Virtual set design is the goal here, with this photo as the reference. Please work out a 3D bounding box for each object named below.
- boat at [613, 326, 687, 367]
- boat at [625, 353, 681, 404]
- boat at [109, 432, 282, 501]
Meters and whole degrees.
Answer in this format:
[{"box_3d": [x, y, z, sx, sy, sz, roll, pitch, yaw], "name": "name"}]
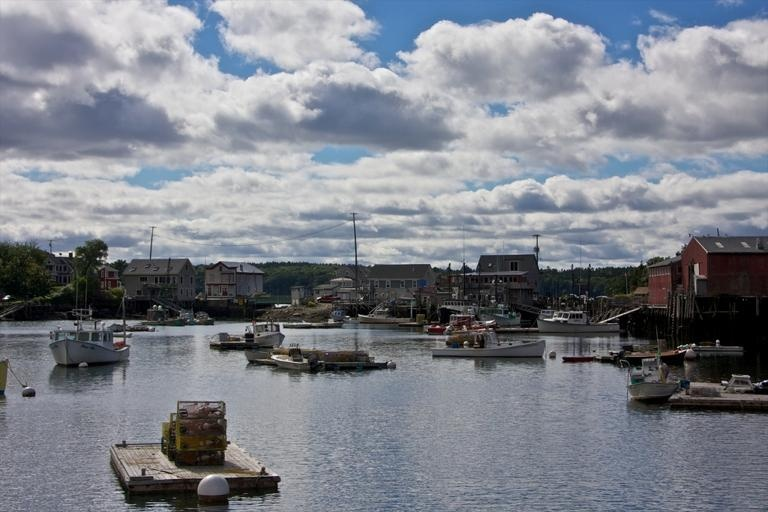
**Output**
[{"box_3d": [20.975, 7.426, 73.213, 5.781, 2.157, 2.510, -1, 3, 12], "name": "boat"}, {"box_3d": [16.688, 7.696, 57.766, 1.952, 1.940, 4.025, -1, -1, 19], "name": "boat"}, {"box_3d": [-9.560, 10.082, 44.750, 7.366, 1.167, 8.984, 3, -1, -29], "name": "boat"}]
